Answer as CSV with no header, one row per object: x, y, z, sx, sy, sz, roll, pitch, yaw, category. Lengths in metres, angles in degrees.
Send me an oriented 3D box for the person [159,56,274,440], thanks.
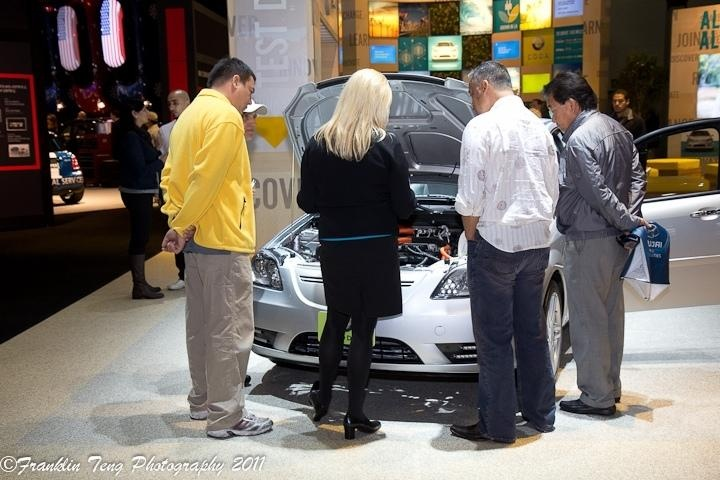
-1.043,0.071,3.764,0.644,2.635,0.672,-5,14,-17,person

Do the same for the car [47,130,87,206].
-7.966,-1.851,14.499,0.748,1.927,1.477,-7,14,-24,car

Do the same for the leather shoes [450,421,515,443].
0.859,1.298,3.763,0.445,0.172,0.150,-1,2,18,leather shoes

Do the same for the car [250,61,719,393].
1.221,-0.046,5.197,2.761,1.336,3.589,2,7,26,car

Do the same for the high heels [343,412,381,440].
0.026,1.295,3.801,0.338,0.160,0.121,-3,3,-37,high heels

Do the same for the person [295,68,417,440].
-0.006,0.119,3.696,0.777,2.506,0.552,-3,13,-5,person

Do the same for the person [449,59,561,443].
0.992,0.223,3.608,0.755,2.312,0.458,-8,15,-28,person
